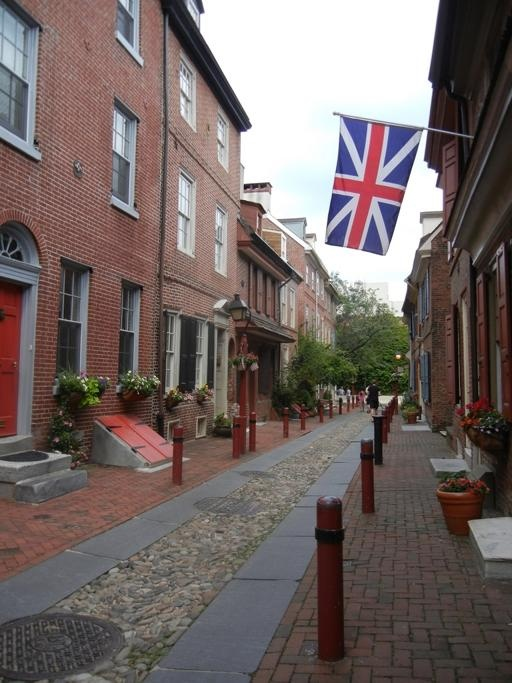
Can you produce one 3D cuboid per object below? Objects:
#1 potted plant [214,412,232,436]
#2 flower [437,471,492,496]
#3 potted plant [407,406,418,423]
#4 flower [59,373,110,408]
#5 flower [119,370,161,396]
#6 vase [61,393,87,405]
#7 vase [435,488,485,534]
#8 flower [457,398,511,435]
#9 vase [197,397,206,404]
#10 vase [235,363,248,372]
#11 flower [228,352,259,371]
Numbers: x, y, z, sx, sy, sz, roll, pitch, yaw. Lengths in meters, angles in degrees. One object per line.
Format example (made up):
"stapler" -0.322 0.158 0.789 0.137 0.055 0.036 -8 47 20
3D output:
"potted plant" -0.988 2.473 15.150 0.528 0.625 0.618 1 -6 -4
"flower" 2.136 1.433 5.175 0.403 0.182 0.421 -1 -4 8
"potted plant" 6.703 3.187 22.234 0.557 0.584 0.575 -8 -14 37
"flower" -2.859 0.775 8.198 0.522 0.437 0.809 0 -2 13
"flower" -2.385 0.835 10.125 0.454 0.373 0.693 2 -2 24
"vase" -2.933 0.925 8.219 0.233 0.208 0.400 -1 -6 12
"vase" 2.071 1.723 5.198 0.426 0.396 0.447 -6 -14 20
"flower" 2.528 0.839 5.689 0.340 0.248 0.561 -4 1 16
"vase" -1.536 1.635 14.384 0.168 0.193 0.195 3 -7 -18
"vase" -0.362 0.639 13.312 0.252 0.268 0.466 3 1 -5
"flower" -0.349 0.510 13.130 0.638 0.465 0.661 -2 -3 35
